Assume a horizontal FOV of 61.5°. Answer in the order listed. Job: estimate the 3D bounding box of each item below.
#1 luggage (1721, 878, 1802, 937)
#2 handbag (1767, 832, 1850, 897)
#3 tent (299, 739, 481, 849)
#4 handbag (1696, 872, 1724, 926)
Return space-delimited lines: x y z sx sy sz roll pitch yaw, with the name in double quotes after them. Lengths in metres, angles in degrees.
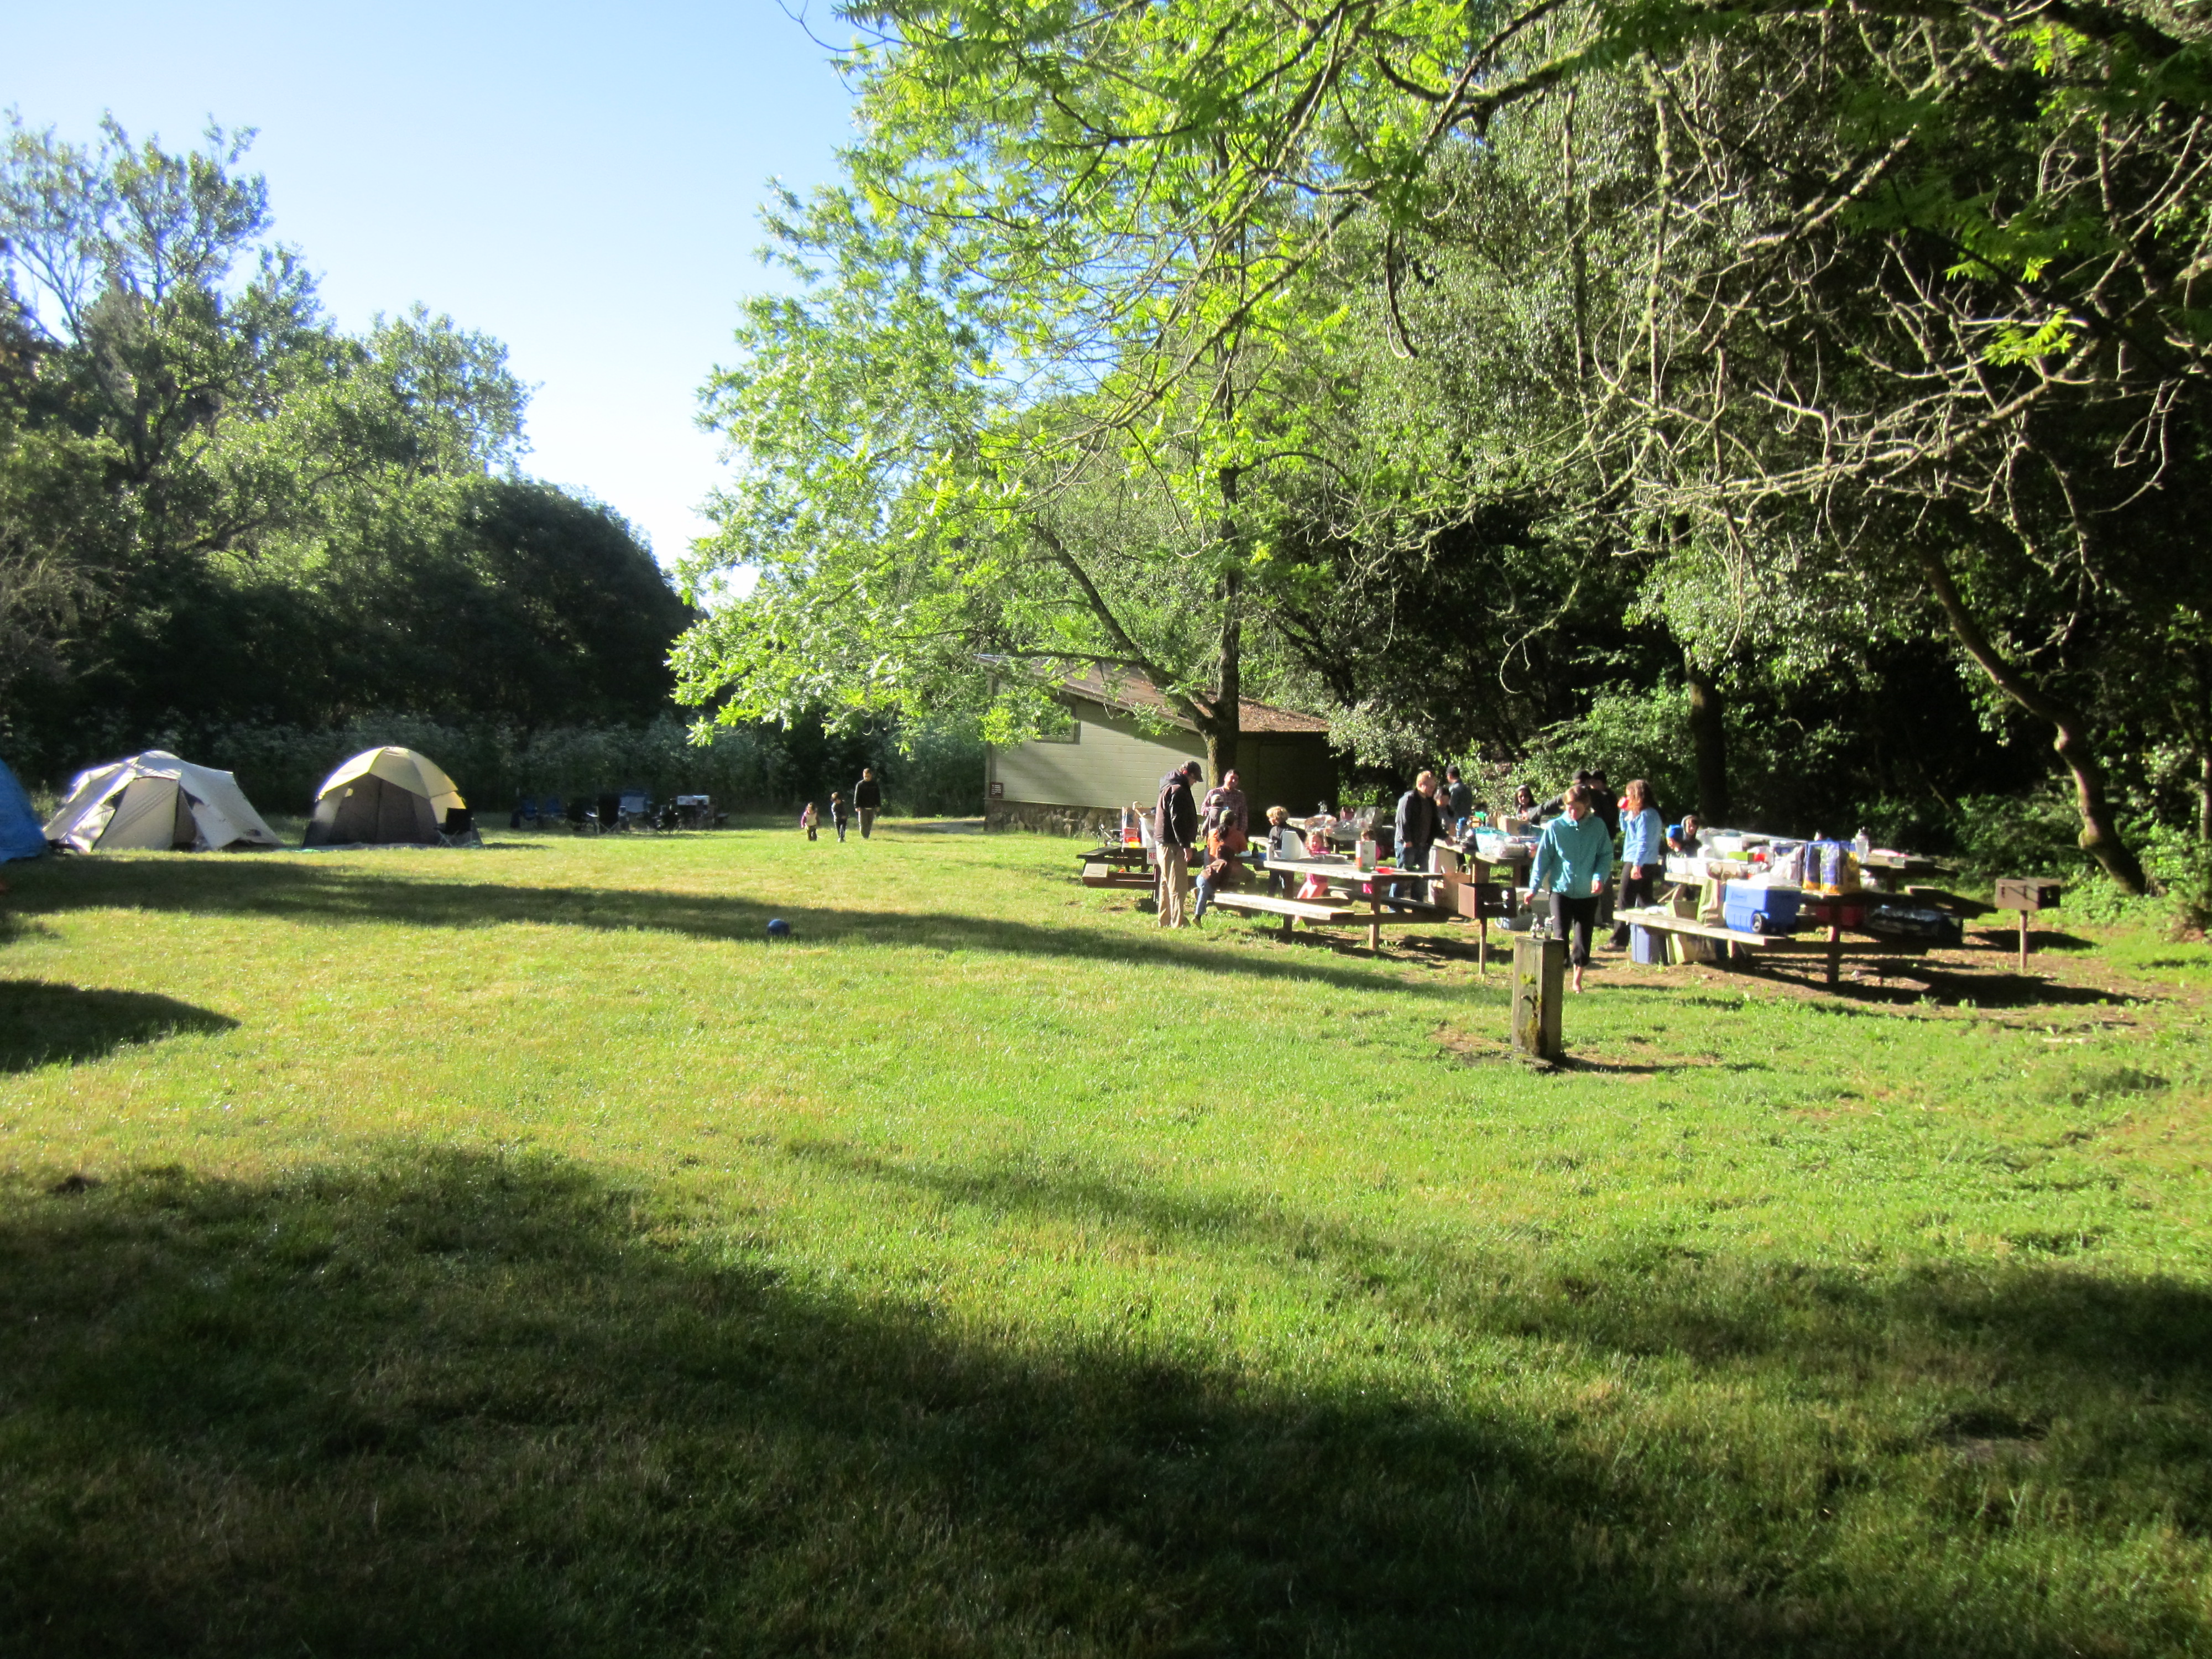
6.265 0.737 17.833 0.411 0.571 0.766 1 -1 -10 "luggage"
6.921 0.329 18.231 0.520 0.354 0.923 4 5 43 "handbag"
-12.179 -0.546 31.465 1.865 1.415 1.929 0 5 -13 "tent"
6.002 0.689 18.431 0.224 0.414 0.870 4 10 17 "handbag"
